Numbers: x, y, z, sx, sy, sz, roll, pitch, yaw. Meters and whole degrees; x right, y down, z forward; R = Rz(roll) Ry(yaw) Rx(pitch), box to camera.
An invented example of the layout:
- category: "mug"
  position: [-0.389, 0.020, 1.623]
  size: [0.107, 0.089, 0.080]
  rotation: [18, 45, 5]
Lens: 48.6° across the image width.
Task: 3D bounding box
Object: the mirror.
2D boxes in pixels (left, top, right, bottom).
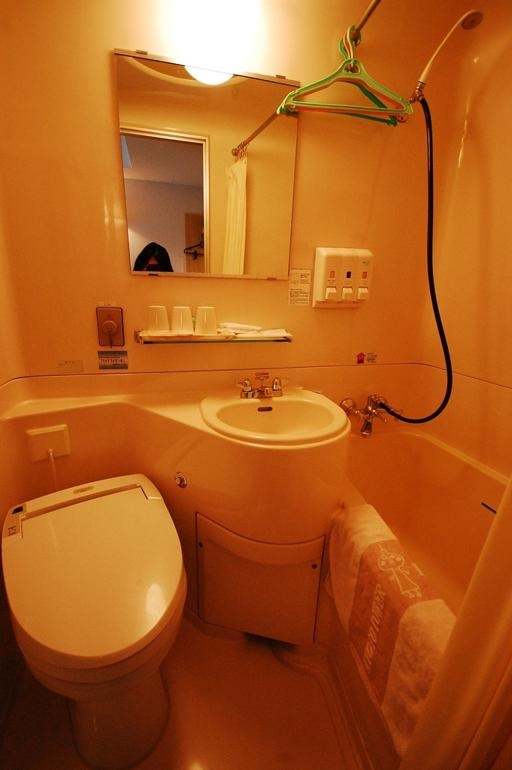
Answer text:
- category: "mirror"
  position: [-0.161, -0.629, 1.568]
  size: [0.578, 0.715, 0.026]
  rotation: [-2, 17, -15]

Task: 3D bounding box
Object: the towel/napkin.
- category: "towel/napkin"
  position: [0.290, 0.556, 1.250]
  size: [0.141, 0.244, 0.452]
  rotation: [9, 25, -21]

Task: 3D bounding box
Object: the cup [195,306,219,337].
- category: "cup"
  position: [-0.147, -0.185, 1.627]
  size: [0.065, 0.078, 0.053]
  rotation: [-1, 17, 0]

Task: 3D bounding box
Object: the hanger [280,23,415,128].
- category: "hanger"
  position: [0.242, -0.874, 1.590]
  size: [0.325, 0.277, 0.083]
  rotation: [1, -2, -14]

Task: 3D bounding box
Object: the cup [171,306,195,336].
- category: "cup"
  position: [-0.212, -0.188, 1.625]
  size: [0.063, 0.071, 0.062]
  rotation: [-1, 17, 0]
